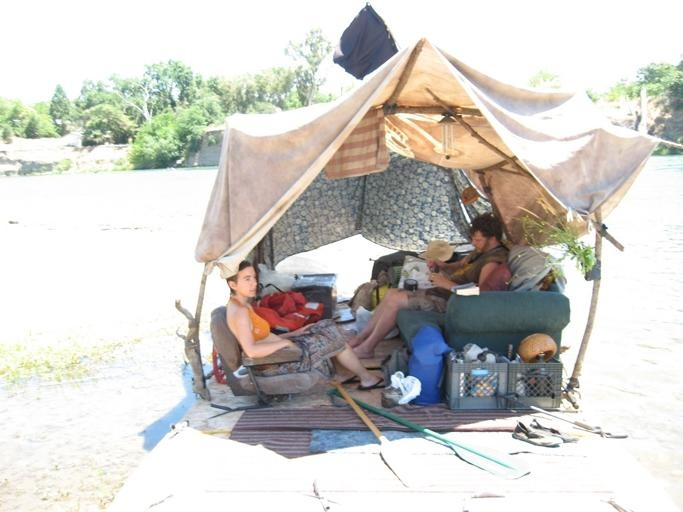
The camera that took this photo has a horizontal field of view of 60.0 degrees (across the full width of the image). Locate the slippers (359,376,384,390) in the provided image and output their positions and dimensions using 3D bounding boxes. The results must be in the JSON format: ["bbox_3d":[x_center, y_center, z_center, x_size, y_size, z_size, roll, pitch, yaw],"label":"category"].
[{"bbox_3d":[0.297,1.239,5.684,0.268,0.052,0.089,-3,4,-12],"label":"slippers"}]

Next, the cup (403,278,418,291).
[{"bbox_3d":[0.802,0.339,6.842,0.155,0.103,0.110,-11,20,-21],"label":"cup"}]

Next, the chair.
[{"bbox_3d":[-0.660,0.840,5.657,1.118,0.699,0.673,-6,8,-3],"label":"chair"}]

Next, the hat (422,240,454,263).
[{"bbox_3d":[1.325,-0.068,8.123,0.397,0.108,0.327,5,36,39],"label":"hat"}]

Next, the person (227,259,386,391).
[{"bbox_3d":[-0.340,0.709,5.780,1.932,1.076,0.772,6,1,-34],"label":"person"}]

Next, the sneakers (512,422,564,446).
[{"bbox_3d":[1.539,1.421,4.709,0.254,0.070,0.160,2,6,34],"label":"sneakers"}]

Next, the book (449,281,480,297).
[{"bbox_3d":[1.117,0.302,5.356,0.240,0.091,0.259,0,9,2],"label":"book"}]

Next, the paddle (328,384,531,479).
[{"bbox_3d":[0.749,1.443,4.782,1.659,0.175,0.129,14,-23,36],"label":"paddle"}]

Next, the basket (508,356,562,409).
[{"bbox_3d":[1.690,1.131,5.329,0.542,0.302,0.460,-1,0,0],"label":"basket"}]

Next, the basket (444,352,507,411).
[{"bbox_3d":[1.176,1.123,5.309,0.601,0.282,0.510,-1,3,-1],"label":"basket"}]

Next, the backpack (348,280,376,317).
[{"bbox_3d":[0.385,0.581,8.293,0.410,0.409,0.174,7,-22,47],"label":"backpack"}]

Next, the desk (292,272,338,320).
[{"bbox_3d":[-0.521,0.591,8.209,0.647,0.639,1.013,-8,6,-13],"label":"desk"}]
